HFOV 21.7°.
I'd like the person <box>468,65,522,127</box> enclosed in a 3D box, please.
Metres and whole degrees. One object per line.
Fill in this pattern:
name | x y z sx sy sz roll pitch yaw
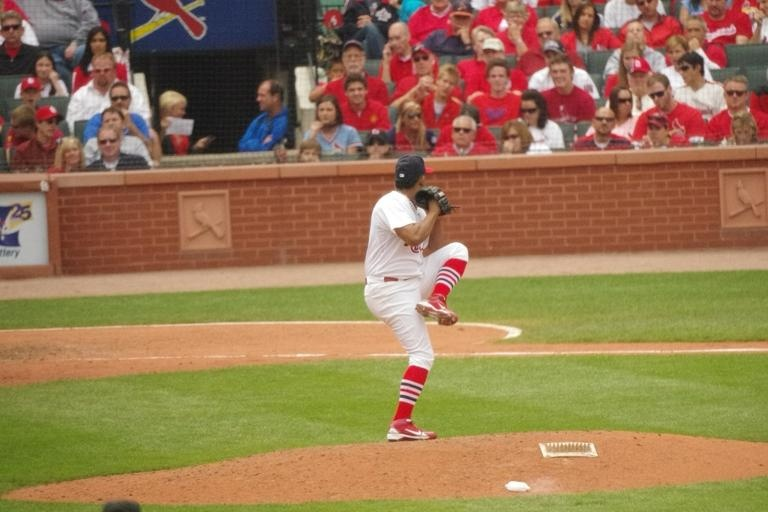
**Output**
person | 1.926 -2.723 34.586 1.185 0.991 0.627 -1 0 -2

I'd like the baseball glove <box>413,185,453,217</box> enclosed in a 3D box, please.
baseball glove | 0.736 -0.794 27.073 0.330 0.450 0.197 -49 -8 39

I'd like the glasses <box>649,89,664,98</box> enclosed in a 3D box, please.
glasses | 4.622 -2.758 34.075 0.273 0.115 0.184 2 6 25

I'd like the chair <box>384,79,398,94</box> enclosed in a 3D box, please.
chair | 0.154 -2.990 35.422 0.322 0.270 0.173 -2 3 -2

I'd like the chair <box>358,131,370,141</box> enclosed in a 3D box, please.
chair | -0.312 -2.084 34.577 0.143 0.156 0.183 5 28 14

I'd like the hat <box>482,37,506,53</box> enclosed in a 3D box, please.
hat | 1.919 -3.690 34.934 0.391 0.251 0.347 -2 6 -22

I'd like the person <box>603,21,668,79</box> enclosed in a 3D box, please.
person | 4.378 -3.666 35.100 0.790 0.861 1.197 1 6 11

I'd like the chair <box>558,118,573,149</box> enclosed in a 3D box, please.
chair | 3.169 -2.085 34.500 0.370 0.459 0.373 1 10 4

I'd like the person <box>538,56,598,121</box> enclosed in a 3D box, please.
person | 2.993 -2.783 34.545 1.497 1.211 0.776 1 7 26

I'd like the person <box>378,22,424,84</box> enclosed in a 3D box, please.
person | 0.323 -3.367 35.571 0.723 1.447 0.623 9 -9 -7

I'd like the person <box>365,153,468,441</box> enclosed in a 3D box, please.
person | 0.438 0.528 27.089 1.328 3.778 1.012 0 5 1

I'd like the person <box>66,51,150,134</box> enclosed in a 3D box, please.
person | -4.831 -2.852 35.052 1.753 1.366 0.904 -4 -6 -9

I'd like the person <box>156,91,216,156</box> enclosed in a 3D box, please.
person | -3.460 -2.353 35.283 0.813 1.096 0.425 -1 5 -10

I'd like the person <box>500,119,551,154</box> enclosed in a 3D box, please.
person | 2.461 -2.133 34.517 0.924 0.674 0.589 -1 35 11

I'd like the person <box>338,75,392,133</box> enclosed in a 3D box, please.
person | -0.322 -2.607 34.710 0.864 0.683 0.461 -15 26 -5

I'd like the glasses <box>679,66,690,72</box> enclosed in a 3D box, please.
glasses | 5.128 -3.224 34.354 0.169 0.102 0.085 2 6 20

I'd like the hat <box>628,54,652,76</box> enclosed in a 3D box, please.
hat | 4.401 -3.277 34.375 0.380 0.282 0.212 -3 6 -27

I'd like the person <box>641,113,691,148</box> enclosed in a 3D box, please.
person | 4.779 -2.123 34.402 0.809 0.475 0.415 9 -6 -43

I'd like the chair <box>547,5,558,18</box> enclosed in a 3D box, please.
chair | 3.095 -4.547 36.944 0.228 0.286 0.235 -4 -30 8

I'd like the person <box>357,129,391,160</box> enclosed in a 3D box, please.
person | -0.132 -1.906 34.465 0.459 0.313 0.706 1 42 0

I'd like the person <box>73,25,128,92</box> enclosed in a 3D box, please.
person | -4.960 -3.369 35.565 1.046 1.370 0.779 -2 -9 -14

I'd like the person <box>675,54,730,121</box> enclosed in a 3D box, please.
person | 5.419 -2.863 34.501 0.831 1.225 1.012 -16 12 -26

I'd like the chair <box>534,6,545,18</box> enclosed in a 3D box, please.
chair | 2.884 -4.524 37.014 0.171 0.211 0.180 -2 -4 16

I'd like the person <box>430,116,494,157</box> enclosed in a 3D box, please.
person | 1.413 -1.993 34.485 1.200 0.711 0.473 3 -1 18

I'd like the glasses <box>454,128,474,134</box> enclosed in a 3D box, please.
glasses | 1.368 -2.152 34.242 0.291 0.078 0.076 0 5 0

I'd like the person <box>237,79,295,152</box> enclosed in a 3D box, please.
person | -2.023 -2.406 35.310 0.963 1.318 0.782 9 16 39

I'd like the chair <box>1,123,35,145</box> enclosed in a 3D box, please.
chair | -6.217 -2.116 34.694 0.445 0.369 0.346 4 2 -17

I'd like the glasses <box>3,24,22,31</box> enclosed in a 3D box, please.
glasses | -6.555 -4.097 35.884 0.342 0.147 0.215 -1 5 -11

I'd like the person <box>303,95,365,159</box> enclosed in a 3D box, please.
person | -0.846 -2.175 34.676 1.129 1.041 0.618 4 11 28

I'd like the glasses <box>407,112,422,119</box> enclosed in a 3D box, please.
glasses | 0.547 -2.411 34.294 0.223 0.103 0.077 -1 5 -14

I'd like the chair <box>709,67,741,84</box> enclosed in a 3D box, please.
chair | 5.941 -3.197 35.010 0.498 0.337 0.260 -2 47 10

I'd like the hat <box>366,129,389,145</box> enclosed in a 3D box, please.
hat | -0.078 -2.050 34.445 0.396 0.259 0.210 0 5 0

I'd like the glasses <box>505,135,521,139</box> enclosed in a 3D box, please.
glasses | 2.203 -2.048 34.326 0.203 0.091 0.064 0 5 3

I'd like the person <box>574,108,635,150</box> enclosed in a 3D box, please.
person | 3.747 -2.169 34.437 1.176 0.774 0.499 1 7 -6

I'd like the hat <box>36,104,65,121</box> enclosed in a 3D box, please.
hat | -5.697 -2.463 34.467 0.368 0.183 0.270 4 9 25

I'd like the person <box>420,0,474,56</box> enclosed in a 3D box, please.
person | 1.177 -4.096 36.266 1.061 1.071 0.649 11 4 5

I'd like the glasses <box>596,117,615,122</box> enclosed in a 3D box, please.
glasses | 3.747 -2.355 34.136 0.307 0.144 0.181 0 5 3

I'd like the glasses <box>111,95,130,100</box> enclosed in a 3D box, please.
glasses | -4.500 -2.773 34.736 0.320 0.168 0.130 -1 5 -9

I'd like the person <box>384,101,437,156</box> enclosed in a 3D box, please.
person | 0.490 -2.253 34.561 1.350 0.856 0.639 -3 13 -24

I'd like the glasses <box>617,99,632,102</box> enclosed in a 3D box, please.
glasses | 4.107 -2.659 34.191 0.224 0.077 0.123 0 5 -3

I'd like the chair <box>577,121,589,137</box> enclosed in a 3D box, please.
chair | 3.417 -2.198 34.521 0.219 0.260 0.233 5 16 14

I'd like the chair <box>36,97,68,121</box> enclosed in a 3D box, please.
chair | -5.721 -2.582 35.179 0.474 0.552 0.421 5 4 -8

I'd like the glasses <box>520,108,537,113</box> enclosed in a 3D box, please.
glasses | 2.475 -2.498 34.262 0.265 0.079 0.136 1 5 10

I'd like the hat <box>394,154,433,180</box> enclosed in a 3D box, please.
hat | 0.409 -1.260 27.224 0.404 0.342 0.634 3 18 34
